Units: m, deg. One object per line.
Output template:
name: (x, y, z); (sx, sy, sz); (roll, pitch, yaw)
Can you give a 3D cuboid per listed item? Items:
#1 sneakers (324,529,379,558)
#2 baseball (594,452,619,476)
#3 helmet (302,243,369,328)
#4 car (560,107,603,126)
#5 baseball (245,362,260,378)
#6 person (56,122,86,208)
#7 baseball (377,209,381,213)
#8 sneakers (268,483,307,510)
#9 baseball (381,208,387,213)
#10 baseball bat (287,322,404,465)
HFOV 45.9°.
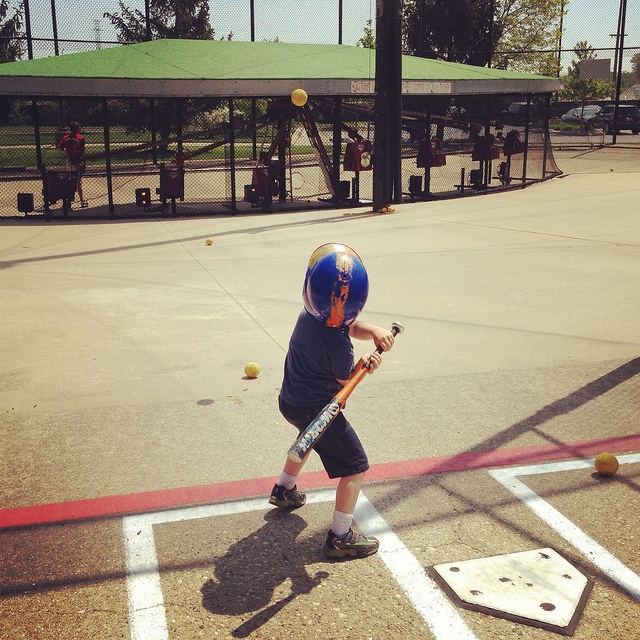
sneakers: (0.150, 1.129, 3.869); (0.305, 0.153, 0.121); (0, 2, -15)
baseball: (1.722, 0.860, 4.565); (0.141, 0.123, 0.127); (6, -4, -35)
helmet: (0.068, -0.164, 3.664); (0.308, 0.406, 0.235); (-1, 12, -2)
car: (13.950, -11.096, 40.788); (1.243, 0.838, 2.541); (-14, 13, -18)
baseball: (-0.553, 0.395, 6.093); (0.122, 0.115, 0.148); (-2, 11, -6)
person: (-5.024, -3.141, 15.379); (0.470, 1.697, 0.976); (-5, 12, -18)
baseball: (1.214, -2.254, 15.553); (0.023, 0.065, 0.053); (39, 19, 23)
sneakers: (-0.169, 0.985, 4.230); (0.093, 0.124, 0.249); (33, 10, 40)
baseball: (1.309, -2.259, 15.495); (0.106, 0.056, 0.103); (-7, 17, -20)
baseball bat: (0.233, 0.275, 3.701); (0.152, 0.120, 1.223); (43, 43, 5)
